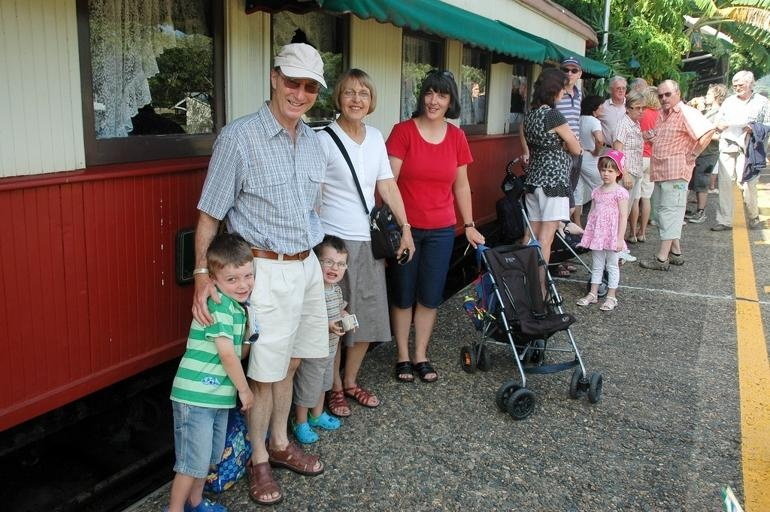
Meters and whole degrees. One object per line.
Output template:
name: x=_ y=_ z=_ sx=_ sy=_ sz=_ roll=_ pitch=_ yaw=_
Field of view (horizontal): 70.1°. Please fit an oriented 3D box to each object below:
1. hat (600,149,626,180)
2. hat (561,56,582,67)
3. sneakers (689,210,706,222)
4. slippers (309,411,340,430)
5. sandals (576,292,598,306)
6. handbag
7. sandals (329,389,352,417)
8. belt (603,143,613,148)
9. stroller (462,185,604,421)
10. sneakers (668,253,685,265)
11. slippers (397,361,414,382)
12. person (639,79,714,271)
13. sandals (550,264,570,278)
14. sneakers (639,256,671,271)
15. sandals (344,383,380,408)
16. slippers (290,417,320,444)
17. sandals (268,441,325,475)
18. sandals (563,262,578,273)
hat: x=2.555 y=-1.038 z=6.149 sx=0.220 sy=0.261 sz=0.426 roll=6 pitch=18 yaw=32
hat: x=2.230 y=-2.337 z=6.594 sx=0.199 sy=0.118 sz=0.223 roll=1 pitch=16 yaw=18
sneakers: x=5.647 y=-0.724 z=9.879 sx=0.448 sy=0.200 sz=0.163 roll=-11 pitch=22 yaw=-44
slippers: x=-0.438 y=1.193 z=3.990 sx=0.196 sy=0.105 sz=0.107 roll=2 pitch=13 yaw=5
sandals: x=2.247 y=0.479 z=6.157 sx=0.275 sy=0.134 sz=0.112 roll=-6 pitch=9 yaw=-27
handbag: x=-0.149 y=-0.444 z=3.971 sx=0.492 sy=0.980 sz=0.183 roll=-4 pitch=14 yaw=-3
sandals: x=-0.332 y=1.105 z=4.117 sx=0.097 sy=0.103 sz=0.246 roll=-4 pitch=7 yaw=-21
belt: x=3.320 y=-1.661 z=8.171 sx=0.150 sy=0.039 sz=0.154 roll=0 pitch=7 yaw=-6
stroller: x=1.116 y=0.331 z=4.590 sx=0.895 sy=1.462 sz=1.356 roll=-2 pitch=11 yaw=-17
sneakers: x=3.943 y=0.041 z=7.427 sx=0.115 sy=0.122 sz=0.279 roll=0 pitch=13 yaw=18
slippers: x=0.168 y=0.962 z=4.558 sx=0.146 sy=0.130 sz=0.420 roll=-1 pitch=1 yaw=2
person: x=3.858 y=-1.083 z=7.235 sx=0.703 sy=2.413 sz=0.960 roll=4 pitch=16 yaw=29
sandals: x=2.229 y=0.187 z=6.915 sx=0.144 sy=0.103 sz=0.386 roll=-3 pitch=6 yaw=9
sneakers: x=3.547 y=0.075 z=7.273 sx=0.406 sy=0.198 sz=0.164 roll=8 pitch=25 yaw=28
sandals: x=-0.180 y=1.090 z=4.299 sx=0.270 sy=0.112 sz=0.134 roll=17 pitch=26 yaw=26
slippers: x=-0.559 y=1.217 z=3.878 sx=0.196 sy=0.100 sz=0.110 roll=15 pitch=25 yaw=36
sandals: x=-0.562 y=1.339 z=3.584 sx=0.413 sy=0.193 sz=0.160 roll=10 pitch=22 yaw=1
sandals: x=2.446 y=0.139 z=7.236 sx=0.100 sy=0.119 sz=0.293 roll=-2 pitch=8 yaw=12
